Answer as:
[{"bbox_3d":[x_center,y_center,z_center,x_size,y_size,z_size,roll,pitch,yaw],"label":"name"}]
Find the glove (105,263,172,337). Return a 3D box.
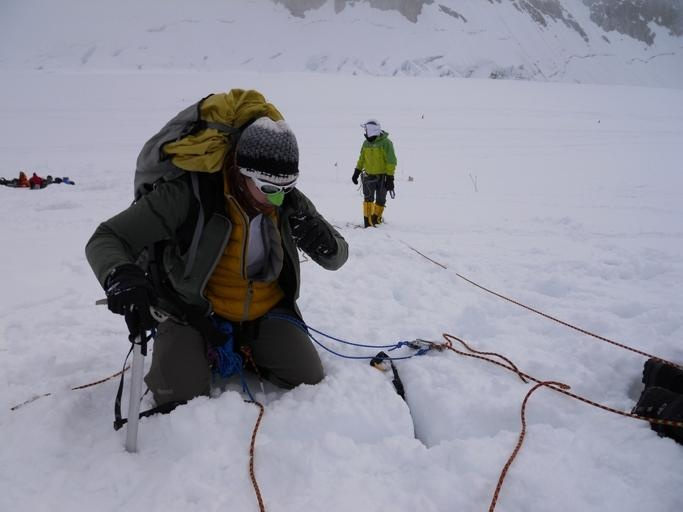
[{"bbox_3d":[-1.506,0.279,5.036,0.529,0.346,0.786,-1,8,11],"label":"glove"}]

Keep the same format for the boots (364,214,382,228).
[{"bbox_3d":[0.472,-0.538,9.596,0.256,0.149,0.519,0,16,3],"label":"boots"}]

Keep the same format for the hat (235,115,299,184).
[{"bbox_3d":[-0.586,-0.908,5.300,0.481,0.491,0.513,12,17,15],"label":"hat"}]

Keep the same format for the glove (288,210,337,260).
[{"bbox_3d":[-0.269,-0.182,5.495,0.404,0.325,0.192,34,50,21],"label":"glove"}]

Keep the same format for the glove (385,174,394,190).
[{"bbox_3d":[0.746,-1.149,9.904,0.127,0.256,0.167,-1,14,-3],"label":"glove"}]

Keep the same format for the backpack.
[{"bbox_3d":[-1.139,-0.782,5.376,1.050,0.477,0.879,-25,42,-6],"label":"backpack"}]

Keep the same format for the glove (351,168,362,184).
[{"bbox_3d":[0.233,-1.347,10.449,0.165,0.290,0.095,16,-6,-41],"label":"glove"}]

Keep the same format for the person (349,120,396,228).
[{"bbox_3d":[0.508,-1.325,9.946,0.660,1.577,1.190,0,14,3],"label":"person"}]
